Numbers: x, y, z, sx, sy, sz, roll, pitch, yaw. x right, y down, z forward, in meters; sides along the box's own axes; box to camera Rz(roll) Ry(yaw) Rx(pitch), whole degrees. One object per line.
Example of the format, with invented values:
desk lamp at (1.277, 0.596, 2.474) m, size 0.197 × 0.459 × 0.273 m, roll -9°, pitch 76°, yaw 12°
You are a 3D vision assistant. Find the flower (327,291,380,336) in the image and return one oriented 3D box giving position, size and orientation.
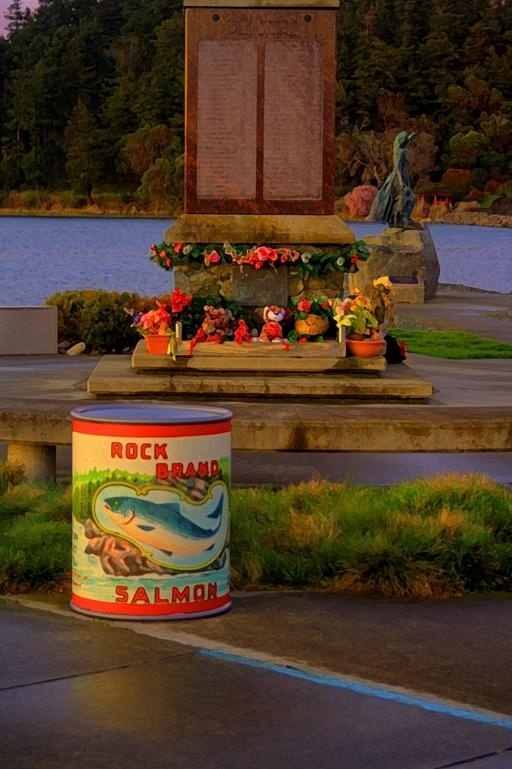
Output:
flower at (1.104, -0.767, 9.671) m, size 0.479 × 0.458 × 0.614 m, roll 0°, pitch 5°, yaw 3°

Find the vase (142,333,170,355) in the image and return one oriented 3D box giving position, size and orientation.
vase at (-1.018, -0.425, 9.349) m, size 0.461 × 0.225 × 0.191 m, roll 5°, pitch 8°, yaw 44°
